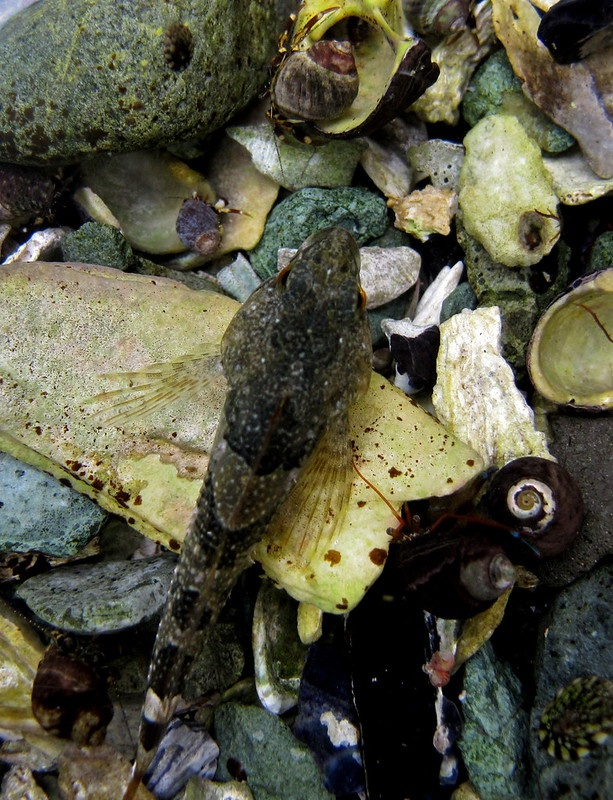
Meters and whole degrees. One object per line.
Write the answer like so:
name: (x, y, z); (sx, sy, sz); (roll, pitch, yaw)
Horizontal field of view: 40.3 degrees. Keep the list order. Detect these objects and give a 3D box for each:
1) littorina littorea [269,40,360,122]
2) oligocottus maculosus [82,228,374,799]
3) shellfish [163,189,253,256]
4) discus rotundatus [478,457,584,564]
littorina littorea: (0.034, -1.411, 3.736); (0.383, 0.342, 0.203); (-13, 57, -7)
oligocottus maculosus: (-0.319, 0.385, 3.869); (1.270, 0.686, 2.336); (24, 91, -7)
shellfish: (-0.531, -0.898, 4.195); (0.423, 0.292, 0.433); (-15, 20, -39)
discus rotundatus: (0.958, 0.462, 3.530); (0.465, 0.166, 0.393); (0, 87, 7)
